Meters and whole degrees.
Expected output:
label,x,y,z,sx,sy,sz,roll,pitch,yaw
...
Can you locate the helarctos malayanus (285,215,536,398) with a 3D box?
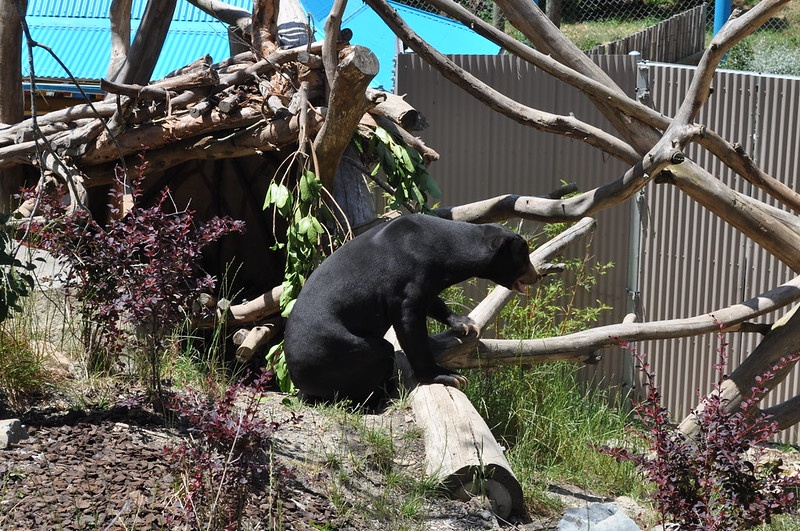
label,x,y,z,sx,sy,sz,roll,pitch,yaw
helarctos malayanus,0.135,0.319,7.444,2.181,1.618,1.101,-9,18,-1
